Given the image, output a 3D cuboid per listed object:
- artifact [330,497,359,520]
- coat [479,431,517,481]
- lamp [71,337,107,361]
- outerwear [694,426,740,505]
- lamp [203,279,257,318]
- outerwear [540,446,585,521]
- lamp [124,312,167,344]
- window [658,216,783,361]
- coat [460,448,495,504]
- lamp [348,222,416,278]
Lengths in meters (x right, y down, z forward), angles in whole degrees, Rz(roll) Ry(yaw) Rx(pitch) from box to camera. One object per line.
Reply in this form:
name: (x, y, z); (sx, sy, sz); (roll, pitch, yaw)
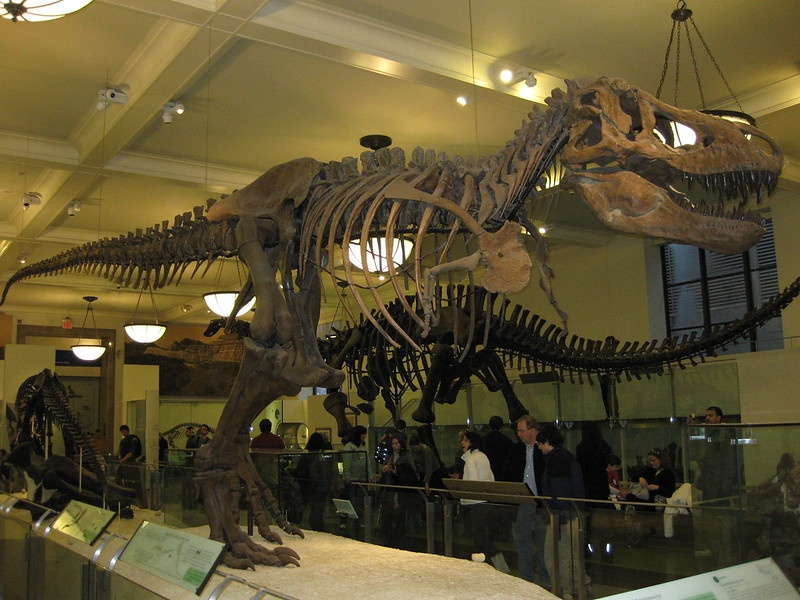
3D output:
artifact: (-0.491, 1.840, 6.043); (0.210, 0.127, 0.174); (-9, -16, 42)
coat: (1.069, 1.683, 7.337); (0.377, 0.458, 0.175); (-4, -9, 14)
lamp: (-7.778, 1.201, 16.884); (0.658, 0.240, 0.661); (-7, -16, 35)
outerwear: (2.231, 1.150, 4.755); (0.092, 0.530, 0.300); (6, -10, -35)
lamp: (-2.553, 0.026, 10.171); (0.954, 0.385, 0.928); (-3, -5, 9)
outerwear: (1.275, 1.364, 5.209); (0.368, 0.670, 0.639); (4, -14, 6)
lamp: (-6.018, 0.618, 15.914); (0.879, 0.582, 0.894); (0, -10, 1)
window: (4.272, -0.060, 8.822); (2.092, 2.260, 0.183); (-9, -13, 43)
coat: (0.669, 1.561, 6.122); (0.297, 0.429, 0.489); (-3, -11, 33)
lamp: (-0.153, -0.420, 5.636); (0.684, 0.273, 0.656); (5, -22, -12)
